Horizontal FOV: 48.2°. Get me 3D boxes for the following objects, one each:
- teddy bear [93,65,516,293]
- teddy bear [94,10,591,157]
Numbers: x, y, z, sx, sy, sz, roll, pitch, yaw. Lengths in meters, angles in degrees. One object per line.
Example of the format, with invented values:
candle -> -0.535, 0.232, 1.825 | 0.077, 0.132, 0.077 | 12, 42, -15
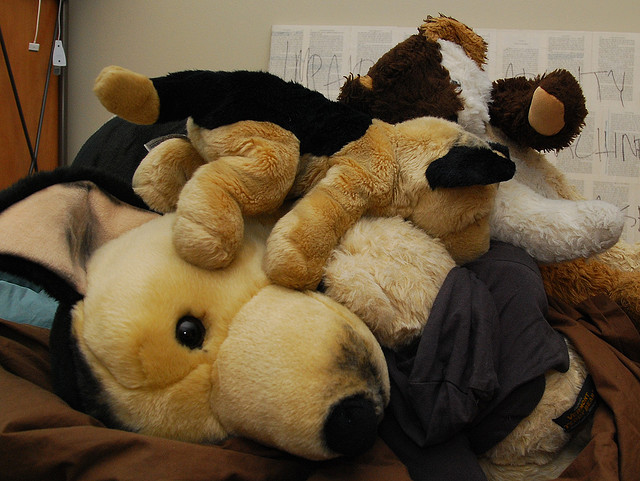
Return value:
teddy bear -> -0.031, -0.124, 1.419 | 0.802, 0.350, 0.564 | 11, 13, -7
teddy bear -> 0.099, -0.285, 1.442 | 0.743, 0.279, 0.467 | -1, 4, -14
